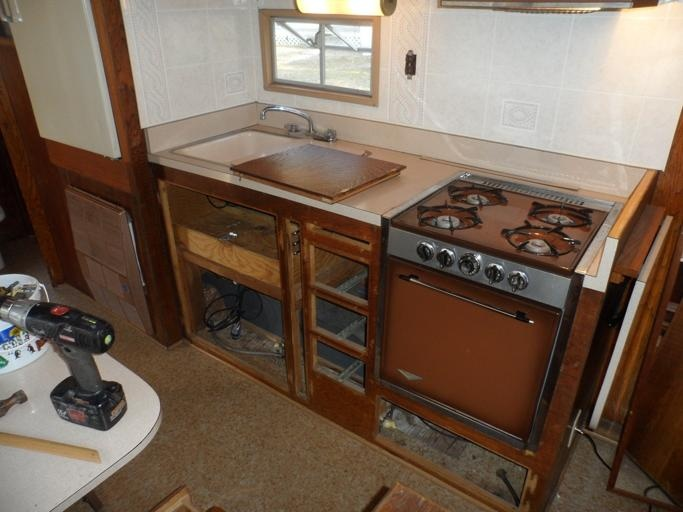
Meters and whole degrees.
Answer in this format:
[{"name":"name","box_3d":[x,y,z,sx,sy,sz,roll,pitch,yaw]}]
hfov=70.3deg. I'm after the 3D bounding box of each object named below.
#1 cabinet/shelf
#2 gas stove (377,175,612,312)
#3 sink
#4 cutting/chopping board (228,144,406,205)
[{"name":"cabinet/shelf","box_3d":[-0.308,0.143,2.785,1.546,1.247,0.520,17,31,31]},{"name":"gas stove","box_3d":[0.677,-0.116,2.063,0.725,0.183,0.706,20,37,29]},{"name":"sink","box_3d":[-0.597,-0.604,2.744,0.251,0.111,0.304,27,41,32]},{"name":"cutting/chopping board","box_3d":[-0.104,-0.424,2.388,0.669,0.053,0.559,21,37,30]}]
